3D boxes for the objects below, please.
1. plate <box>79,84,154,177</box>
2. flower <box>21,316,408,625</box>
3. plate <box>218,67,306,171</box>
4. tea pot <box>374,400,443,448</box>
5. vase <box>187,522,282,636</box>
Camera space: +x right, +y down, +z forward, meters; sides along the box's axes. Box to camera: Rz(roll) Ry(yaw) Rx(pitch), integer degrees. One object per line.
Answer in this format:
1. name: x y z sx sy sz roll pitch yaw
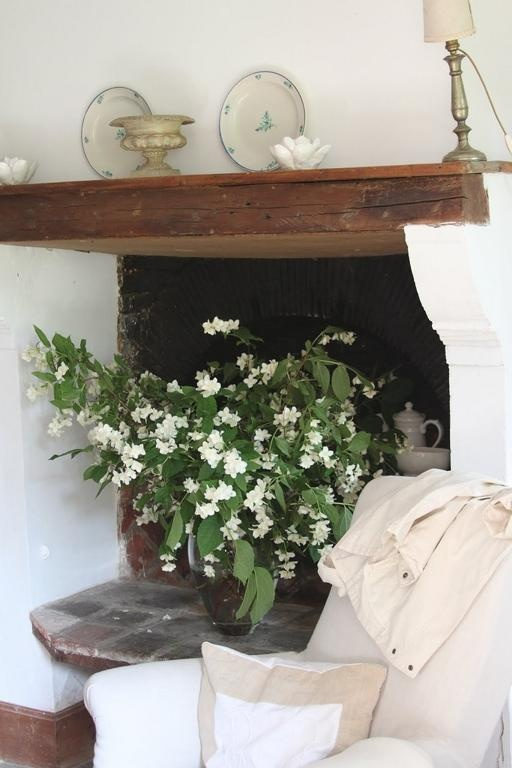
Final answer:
1. plate: -0.421 -0.757 2.229 0.274 0.181 0.067 -2 2 32
2. flower: -0.145 0.173 2.100 1.111 0.824 0.901 0 1 16
3. plate: 0.018 -0.710 2.005 0.258 0.266 0.031 -2 2 27
4. tea pot: 0.451 0.121 2.127 0.160 0.132 0.096 5 7 33
5. vase: -0.103 0.526 2.034 0.281 0.271 0.257 3 0 23
